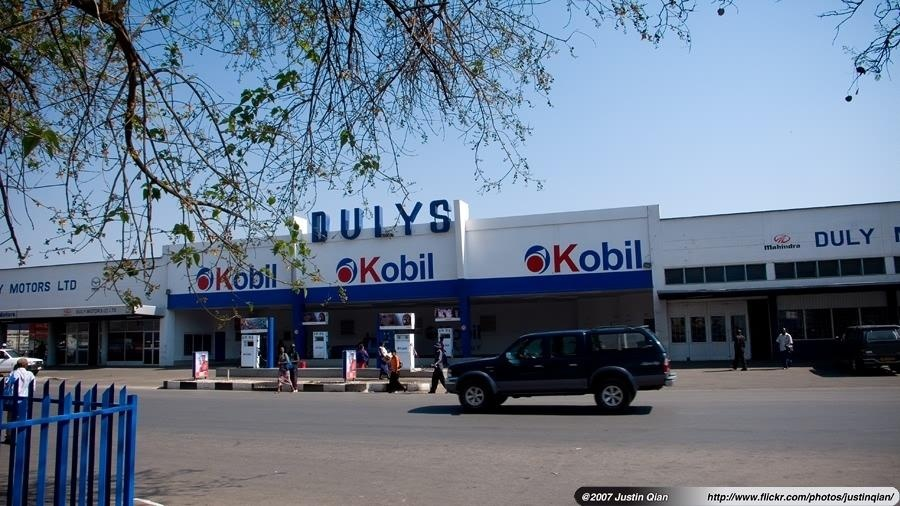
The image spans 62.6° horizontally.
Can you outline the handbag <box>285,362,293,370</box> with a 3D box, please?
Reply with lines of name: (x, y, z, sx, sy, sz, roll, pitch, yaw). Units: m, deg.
handbag: (-7.217, 5.048, 33.137, 0.510, 0.341, 0.283, -5, -4, 44)
